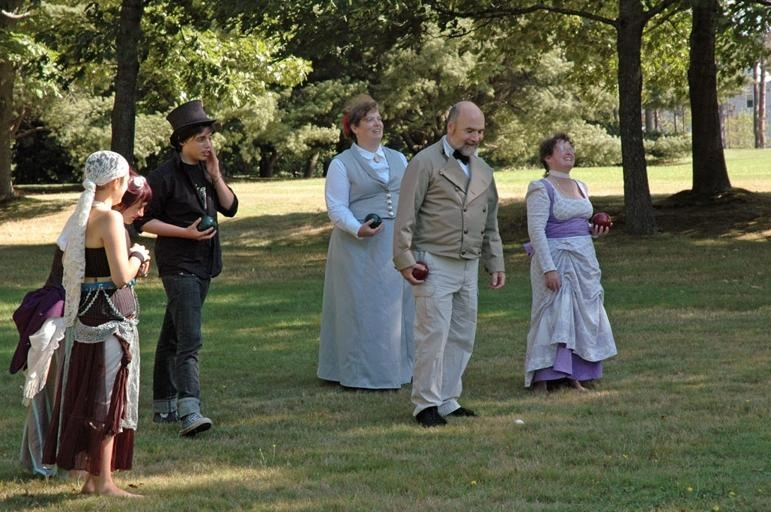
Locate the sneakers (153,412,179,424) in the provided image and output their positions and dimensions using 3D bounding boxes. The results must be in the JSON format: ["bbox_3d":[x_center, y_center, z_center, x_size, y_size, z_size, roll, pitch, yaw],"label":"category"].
[{"bbox_3d":[-3.507,2.600,20.285,0.290,0.248,0.204,-4,1,-12],"label":"sneakers"}]

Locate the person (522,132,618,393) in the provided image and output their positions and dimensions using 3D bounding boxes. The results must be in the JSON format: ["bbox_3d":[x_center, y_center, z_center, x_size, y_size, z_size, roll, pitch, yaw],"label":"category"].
[{"bbox_3d":[2.898,0.106,20.965,1.360,3.757,0.516,-4,1,7],"label":"person"}]

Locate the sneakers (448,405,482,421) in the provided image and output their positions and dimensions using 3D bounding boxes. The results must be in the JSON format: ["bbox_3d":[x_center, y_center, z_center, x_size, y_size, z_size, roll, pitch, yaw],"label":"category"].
[{"bbox_3d":[1.228,2.506,20.111,0.521,0.201,0.180,6,-7,-3],"label":"sneakers"}]

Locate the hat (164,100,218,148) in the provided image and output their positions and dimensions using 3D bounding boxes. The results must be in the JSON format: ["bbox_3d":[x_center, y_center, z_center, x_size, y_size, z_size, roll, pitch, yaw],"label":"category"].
[{"bbox_3d":[-3.097,-2.121,20.319,0.933,0.493,0.852,-20,1,20],"label":"hat"}]

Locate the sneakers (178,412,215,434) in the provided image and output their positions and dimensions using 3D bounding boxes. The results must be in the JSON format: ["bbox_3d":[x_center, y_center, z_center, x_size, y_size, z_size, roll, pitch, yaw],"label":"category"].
[{"bbox_3d":[-2.953,2.652,19.795,0.567,0.225,0.266,-12,-35,16],"label":"sneakers"}]
